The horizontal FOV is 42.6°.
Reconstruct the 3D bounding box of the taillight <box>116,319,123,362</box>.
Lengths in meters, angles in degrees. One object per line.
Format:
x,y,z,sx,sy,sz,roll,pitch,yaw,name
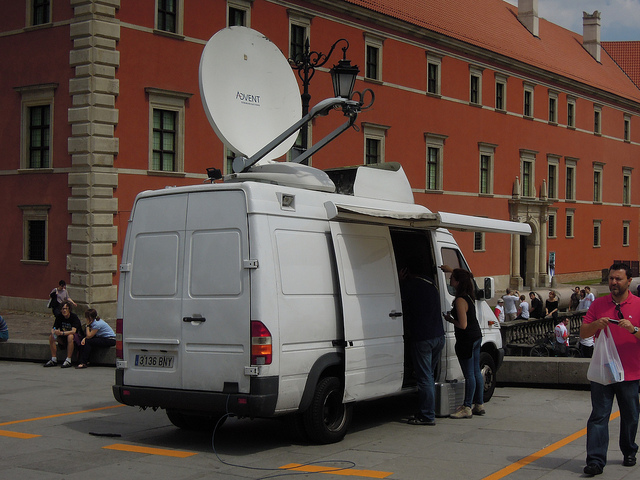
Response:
-2.874,1.435,11.768,0.084,0.576,0.160,-1,3,-17,taillight

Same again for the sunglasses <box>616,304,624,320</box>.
3.796,0.904,10.401,0.046,0.139,0.133,-13,10,19,sunglasses

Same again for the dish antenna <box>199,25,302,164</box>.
-1.233,-2.470,14.048,2.145,2.164,0.136,-16,14,-42,dish antenna

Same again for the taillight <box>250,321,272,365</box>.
-0.815,1.365,11.051,0.373,0.604,0.392,1,-3,-25,taillight

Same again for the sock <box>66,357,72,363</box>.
-5.395,2.581,17.588,0.079,0.097,0.045,-2,3,-23,sock

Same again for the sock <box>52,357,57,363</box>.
-5.775,2.599,17.783,0.111,0.115,0.059,3,-10,-41,sock
